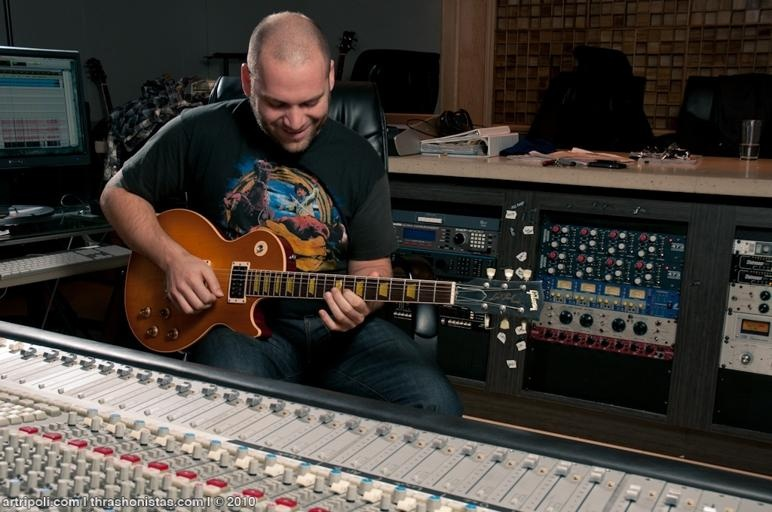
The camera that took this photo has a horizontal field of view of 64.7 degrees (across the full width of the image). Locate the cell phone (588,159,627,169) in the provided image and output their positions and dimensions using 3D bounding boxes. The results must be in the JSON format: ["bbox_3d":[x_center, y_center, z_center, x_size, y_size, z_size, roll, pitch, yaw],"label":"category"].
[{"bbox_3d":[0.992,-0.410,2.743,0.182,0.040,0.132,2,10,4],"label":"cell phone"}]

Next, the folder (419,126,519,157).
[{"bbox_3d":[0.428,-0.574,3.130,0.292,0.092,0.279,-11,9,-27],"label":"folder"}]

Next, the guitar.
[{"bbox_3d":[-0.249,0.105,1.877,1.310,0.442,0.247,5,10,20],"label":"guitar"}]

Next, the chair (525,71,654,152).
[{"bbox_3d":[1.502,-1.060,4.888,0.959,0.859,0.948,8,14,12],"label":"chair"}]
